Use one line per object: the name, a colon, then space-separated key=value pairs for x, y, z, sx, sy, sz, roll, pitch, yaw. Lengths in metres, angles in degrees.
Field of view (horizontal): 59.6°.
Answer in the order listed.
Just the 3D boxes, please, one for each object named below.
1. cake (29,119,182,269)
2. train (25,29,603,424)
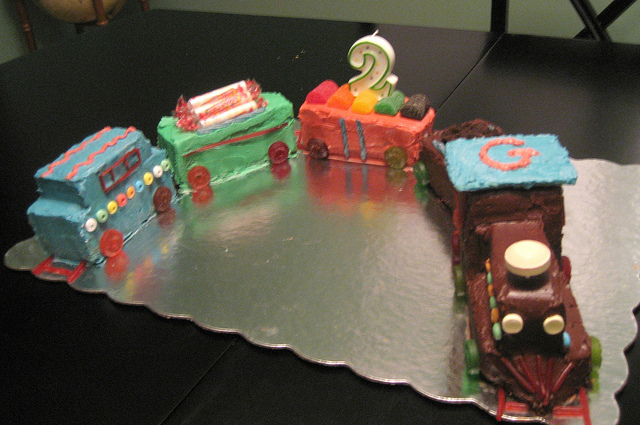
cake: x=-1.740 y=-0.195 z=4.480 sx=0.627 sy=0.745 sz=1.048 roll=10 pitch=38 yaw=26
train: x=0.175 y=0.006 z=4.128 sx=3.830 sy=0.969 sz=2.691 roll=18 pitch=46 yaw=25
